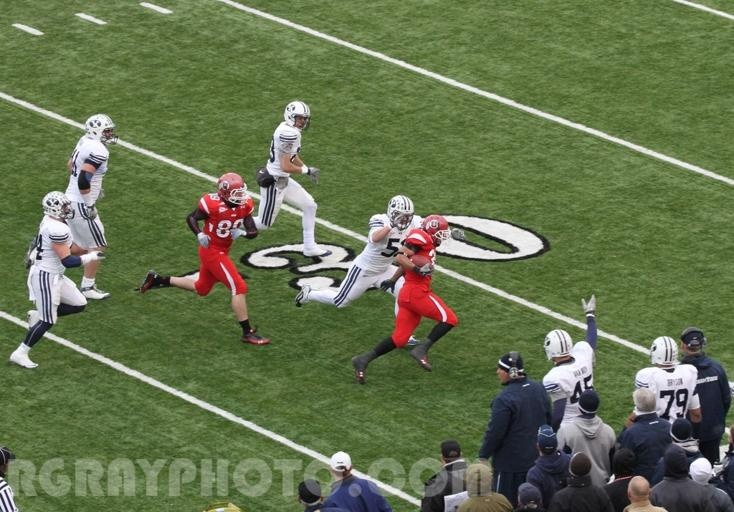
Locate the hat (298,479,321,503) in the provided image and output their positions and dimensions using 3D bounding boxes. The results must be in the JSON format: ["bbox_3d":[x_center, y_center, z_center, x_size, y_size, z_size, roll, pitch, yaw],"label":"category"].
[{"bbox_3d":[-0.554,2.259,14.356,0.266,0.237,0.231,-6,45,-6],"label":"hat"}]

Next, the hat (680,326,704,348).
[{"bbox_3d":[3.549,0.875,16.183,0.252,0.119,0.244,-1,23,3],"label":"hat"}]

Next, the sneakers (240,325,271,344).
[{"bbox_3d":[-1.360,1.000,18.304,0.386,0.105,0.171,4,13,18],"label":"sneakers"}]

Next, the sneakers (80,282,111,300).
[{"bbox_3d":[-3.532,0.464,18.963,0.520,0.148,0.142,2,30,-10],"label":"sneakers"}]

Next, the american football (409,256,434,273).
[{"bbox_3d":[0.688,0.091,17.597,0.321,0.133,0.207,20,9,14],"label":"american football"}]

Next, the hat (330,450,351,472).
[{"bbox_3d":[-0.249,2.022,14.713,0.218,0.099,0.225,0,16,-2],"label":"hat"}]

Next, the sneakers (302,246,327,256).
[{"bbox_3d":[-0.686,-0.065,19.965,0.428,0.120,0.102,-1,35,-6],"label":"sneakers"}]

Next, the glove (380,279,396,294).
[{"bbox_3d":[0.262,0.364,18.273,0.134,0.200,0.082,53,43,5],"label":"glove"}]

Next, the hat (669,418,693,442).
[{"bbox_3d":[3.206,1.767,15.176,0.315,0.246,0.234,4,50,9],"label":"hat"}]

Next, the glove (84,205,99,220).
[{"bbox_3d":[-3.484,-0.560,18.834,0.159,0.067,0.146,15,49,-30],"label":"glove"}]

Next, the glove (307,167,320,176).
[{"bbox_3d":[-0.725,-1.145,19.917,0.171,0.063,0.200,-4,-6,22],"label":"glove"}]

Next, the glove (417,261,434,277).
[{"bbox_3d":[0.696,0.154,17.627,0.177,0.140,0.180,4,-3,-34],"label":"glove"}]
